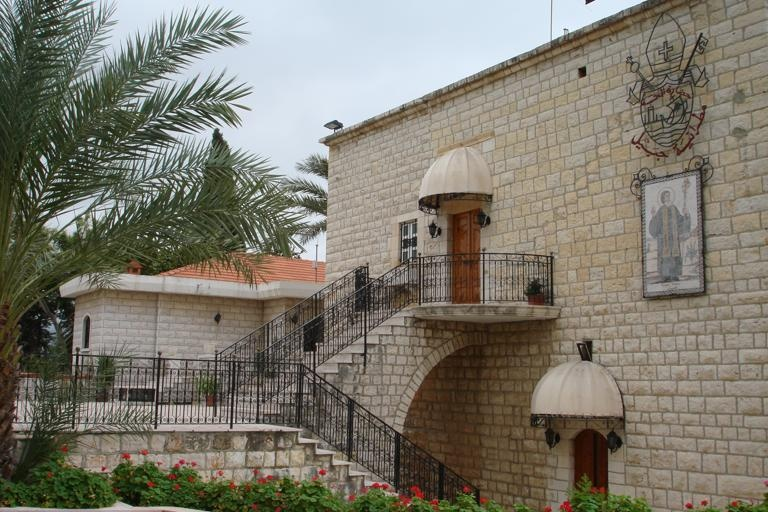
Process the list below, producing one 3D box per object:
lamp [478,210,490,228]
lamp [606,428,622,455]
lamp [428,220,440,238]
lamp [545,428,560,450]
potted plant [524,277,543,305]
[{"bbox_3d":[2.545,-0.948,21.572,0.338,0.398,0.234,8,-16,-13],"label":"lamp"},{"bbox_3d":[5.089,4.111,18.634,0.316,0.491,0.284,-6,-18,31],"label":"lamp"},{"bbox_3d":[1.347,-0.718,22.524,0.463,0.474,0.176,-10,-20,40],"label":"lamp"},{"bbox_3d":[3.936,4.275,19.702,0.353,0.494,0.399,2,-16,9],"label":"lamp"},{"bbox_3d":[3.609,0.874,20.067,0.516,0.792,0.484,1,0,0],"label":"potted plant"}]
